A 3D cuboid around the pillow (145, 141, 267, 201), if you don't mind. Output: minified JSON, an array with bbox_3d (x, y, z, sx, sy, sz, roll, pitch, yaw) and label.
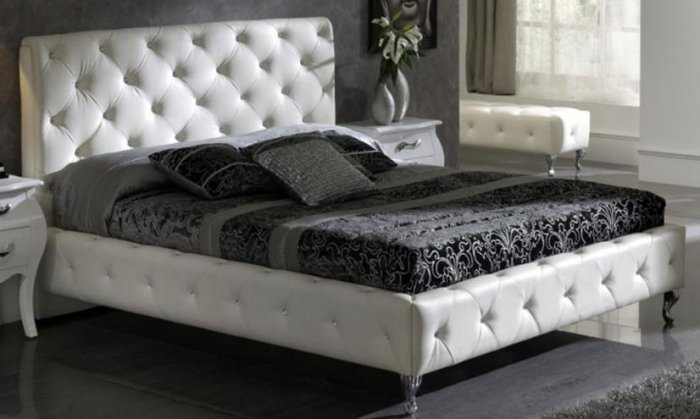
[{"bbox_3d":[-0.898,-0.265,3.551,0.473,0.164,0.446,-7,36,-47],"label":"pillow"}]

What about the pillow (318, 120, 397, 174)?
[{"bbox_3d":[0.057,-0.424,4.066,0.386,0.118,0.402,34,18,22],"label":"pillow"}]

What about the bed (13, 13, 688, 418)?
[{"bbox_3d":[-0.127,-0.338,3.613,3.134,1.892,2.998,11,24,34],"label":"bed"}]

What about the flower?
[{"bbox_3d":[0.409,-1.542,5.246,0.435,0.433,0.412,-28,56,-27],"label":"flower"}]

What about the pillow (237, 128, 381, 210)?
[{"bbox_3d":[-0.232,-0.250,3.569,0.490,0.357,0.607,-12,16,-41],"label":"pillow"}]
